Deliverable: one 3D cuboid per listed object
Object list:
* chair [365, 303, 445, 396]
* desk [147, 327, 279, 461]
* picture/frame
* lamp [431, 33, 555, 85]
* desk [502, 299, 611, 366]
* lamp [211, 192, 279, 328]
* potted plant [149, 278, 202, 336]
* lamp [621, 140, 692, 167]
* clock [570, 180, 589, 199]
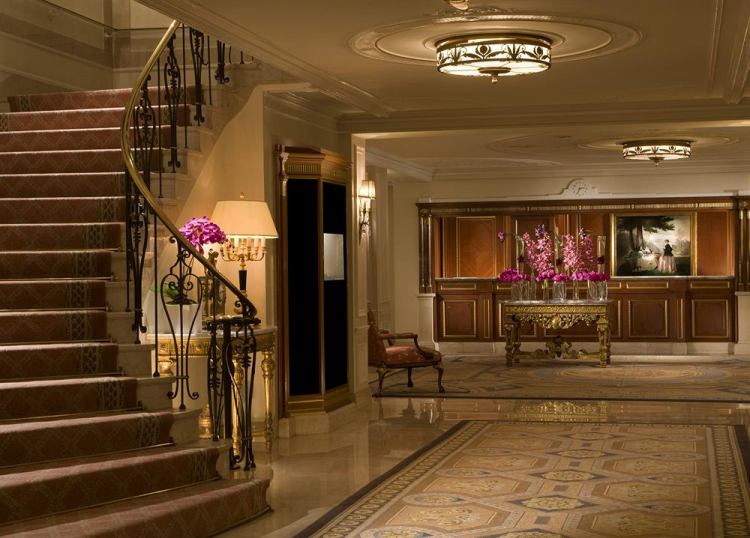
[{"bbox_3d":[0.294,1.285,8.864,1.715,1.524,1.360,-1,-2,-5],"label":"chair"},{"bbox_3d":[-1.420,1.187,5.318,1.355,1.232,1.007,-2,-3,-34],"label":"desk"},{"bbox_3d":[6.499,-0.620,12.817,1.886,1.275,0.178,-1,-1,7],"label":"picture/frame"},{"bbox_3d":[1.012,-1.755,4.516,0.592,0.163,0.523,0,0,-22],"label":"lamp"},{"bbox_3d":[3.777,1.088,11.423,2.624,1.283,1.524,0,3,16],"label":"desk"},{"bbox_3d":[-1.257,-0.274,5.420,0.570,1.012,0.807,-3,-3,-12],"label":"lamp"},{"bbox_3d":[-1.769,0.325,4.909,0.494,0.537,1.080,-2,-3,-22],"label":"potted plant"},{"bbox_3d":[4.976,-2.125,9.830,0.746,0.211,0.674,0,2,10],"label":"lamp"},{"bbox_3d":[4.658,-1.860,12.637,0.536,0.249,0.052,1,8,11],"label":"clock"}]
